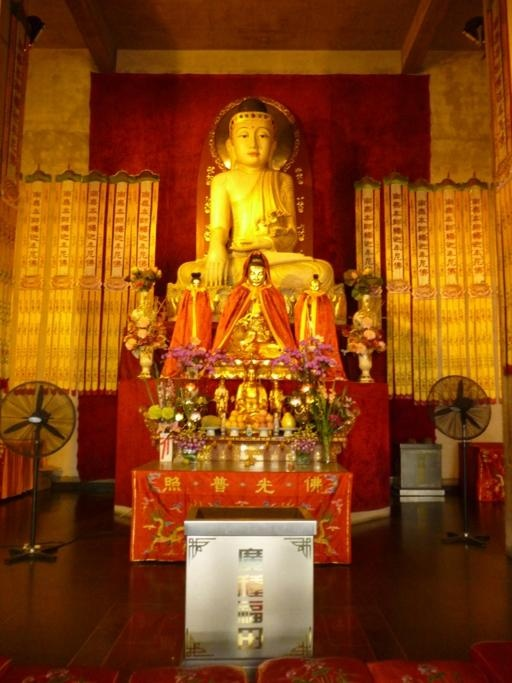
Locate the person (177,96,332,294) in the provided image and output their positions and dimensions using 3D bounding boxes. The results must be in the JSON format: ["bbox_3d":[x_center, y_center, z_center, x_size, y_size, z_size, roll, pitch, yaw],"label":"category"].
[{"bbox_3d":[-0.095,-1.448,6.843,1.318,2.101,0.839,1,-7,-6],"label":"person"}]

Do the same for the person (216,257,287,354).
[{"bbox_3d":[-0.010,-0.293,5.469,0.626,0.849,0.296,0,-7,1],"label":"person"}]

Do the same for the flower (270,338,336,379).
[{"bbox_3d":[0.330,0.132,4.682,0.300,0.251,0.373,4,-7,-45],"label":"flower"}]

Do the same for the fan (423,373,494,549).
[{"bbox_3d":[1.463,0.766,4.906,0.415,1.041,2.046,-1,-6,15],"label":"fan"}]

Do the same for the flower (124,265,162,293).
[{"bbox_3d":[-1.048,-0.560,6.289,0.368,0.290,0.303,-4,0,1],"label":"flower"}]

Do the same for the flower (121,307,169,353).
[{"bbox_3d":[-0.934,-0.088,5.663,0.367,0.233,0.376,-3,-3,45],"label":"flower"}]

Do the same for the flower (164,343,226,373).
[{"bbox_3d":[-0.443,0.115,4.825,0.264,0.132,0.256,2,-1,-34],"label":"flower"}]

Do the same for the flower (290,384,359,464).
[{"bbox_3d":[0.435,0.519,4.464,0.444,0.488,0.410,0,-6,4],"label":"flower"}]

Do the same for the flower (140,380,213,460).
[{"bbox_3d":[-0.480,0.493,4.488,0.490,0.583,0.464,1,-5,-5],"label":"flower"}]

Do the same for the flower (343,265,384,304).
[{"bbox_3d":[1.013,-0.522,6.373,0.329,0.138,0.353,-7,-6,36],"label":"flower"}]

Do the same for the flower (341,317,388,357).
[{"bbox_3d":[0.902,-0.027,5.735,0.288,0.263,0.343,0,-6,5],"label":"flower"}]
